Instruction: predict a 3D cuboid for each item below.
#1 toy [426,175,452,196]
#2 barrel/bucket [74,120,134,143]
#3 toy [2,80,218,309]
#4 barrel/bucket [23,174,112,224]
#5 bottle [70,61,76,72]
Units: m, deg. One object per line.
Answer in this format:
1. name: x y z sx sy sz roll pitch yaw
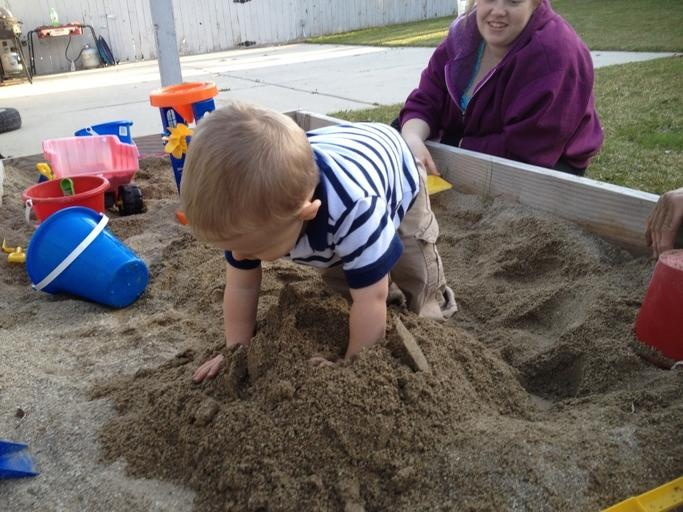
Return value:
1. toy: 0.599 -0.446 3.937 0.132 0.055 0.145 -12 3 -10
2. barrel/bucket: -1.896 -0.986 5.026 0.356 0.176 0.357 -11 19 4
3. toy: -1.370 -0.592 4.610 1.596 1.189 1.237 -8 58 -5
4. barrel/bucket: -1.686 -0.368 3.854 0.358 0.174 0.393 -15 22 6
5. bottle: -5.156 -3.651 12.042 0.106 0.151 0.277 -13 31 -17
